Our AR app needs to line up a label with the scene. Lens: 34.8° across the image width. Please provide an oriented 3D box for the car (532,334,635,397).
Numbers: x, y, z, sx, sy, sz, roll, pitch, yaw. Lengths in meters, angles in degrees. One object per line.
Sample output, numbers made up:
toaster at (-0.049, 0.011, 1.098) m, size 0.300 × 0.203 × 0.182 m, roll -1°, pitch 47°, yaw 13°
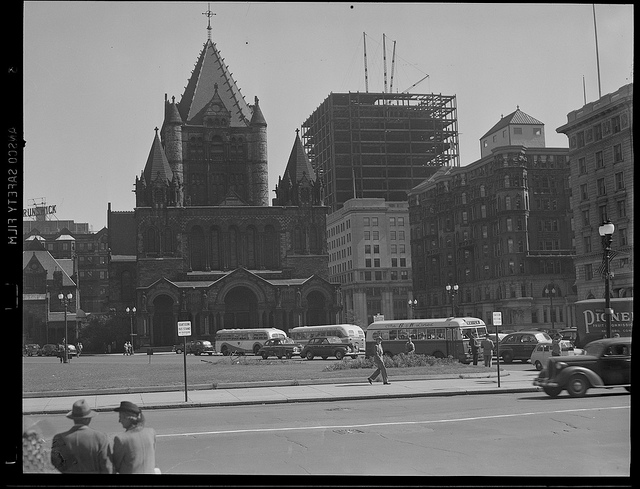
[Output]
car at (8.239, 3.808, 31.491) m, size 2.701 × 1.762 × 0.991 m, roll -4°, pitch -8°, yaw 13°

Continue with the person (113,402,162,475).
person at (-3.512, 3.704, 19.405) m, size 0.829 × 1.391 × 0.327 m, roll 0°, pitch -8°, yaw -9°

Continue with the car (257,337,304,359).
car at (-2.585, 7.200, 70.619) m, size 2.953 × 1.077 × 1.352 m, roll -8°, pitch -6°, yaw 38°

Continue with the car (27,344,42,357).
car at (-22.411, 8.275, 80.199) m, size 1.246 × 1.081 × 2.114 m, roll -1°, pitch 2°, yaw -16°

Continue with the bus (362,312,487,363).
bus at (5.652, 5.188, 56.329) m, size 7.061 × 3.098 × 2.143 m, roll -7°, pitch -7°, yaw 43°

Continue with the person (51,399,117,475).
person at (-4.501, 3.700, 19.443) m, size 1.244 × 1.405 × 0.401 m, roll -1°, pitch -8°, yaw -8°

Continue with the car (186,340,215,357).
car at (-9.780, 8.561, 83.639) m, size 1.257 × 1.250 × 3.335 m, roll 4°, pitch -10°, yaw -35°

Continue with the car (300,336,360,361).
car at (0.559, 6.533, 63.750) m, size 1.754 × 1.509 × 3.741 m, roll 4°, pitch -10°, yaw -37°
